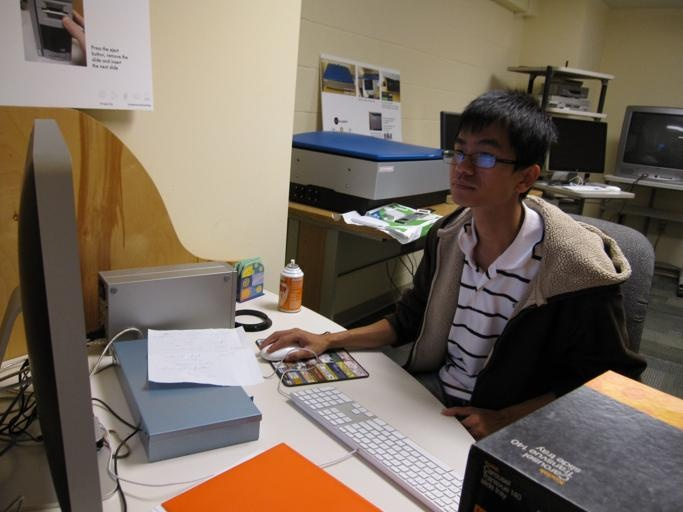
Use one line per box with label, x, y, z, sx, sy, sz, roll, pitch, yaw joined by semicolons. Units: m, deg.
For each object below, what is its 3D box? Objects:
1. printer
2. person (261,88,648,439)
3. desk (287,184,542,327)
printer;0.046;-0.419;2.306;0.524;0.208;0.564;12;16;33
person;0.357;0.023;1.821;1.002;1.359;0.891;-2;9;-26
desk;0.236;-0.023;1.881;0.370;0.350;0.698;23;24;23
